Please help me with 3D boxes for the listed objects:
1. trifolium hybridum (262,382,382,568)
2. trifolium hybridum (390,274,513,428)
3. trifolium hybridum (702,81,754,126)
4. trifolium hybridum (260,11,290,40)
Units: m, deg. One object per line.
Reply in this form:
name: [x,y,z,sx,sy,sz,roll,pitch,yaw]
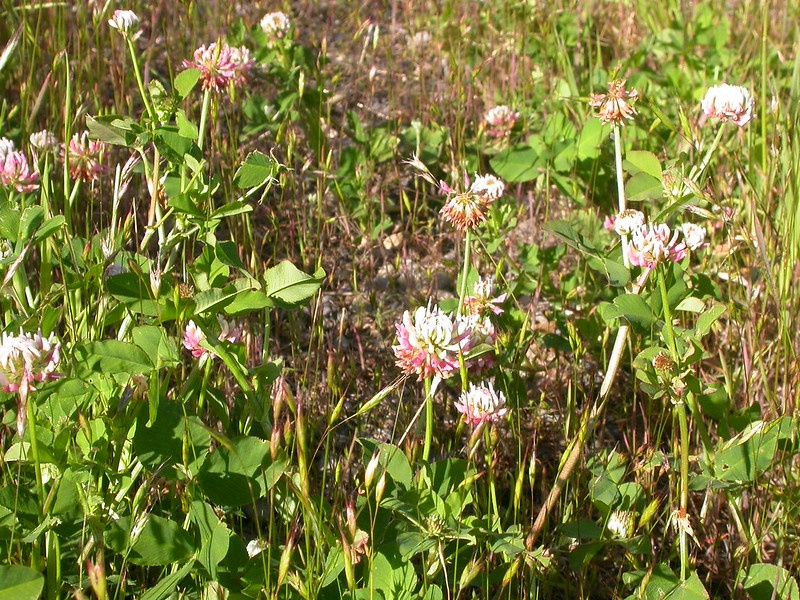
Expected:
trifolium hybridum: [-0.185,0.480,2.422,0.293,0.430,0.292,12,66,42]
trifolium hybridum: [0.112,0.129,2.395,0.284,0.130,0.433,-1,74,-34]
trifolium hybridum: [0.920,-0.525,2.709,0.102,0.094,0.136,4,36,1]
trifolium hybridum: [-0.457,-1.002,3.560,0.091,0.113,0.090,-31,50,-34]
